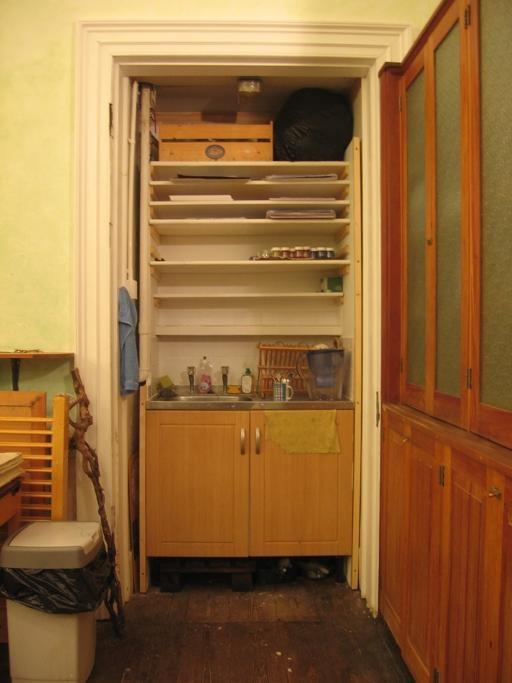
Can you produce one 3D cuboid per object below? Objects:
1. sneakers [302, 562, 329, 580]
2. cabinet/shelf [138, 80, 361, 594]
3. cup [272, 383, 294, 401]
[{"bbox_3d":[0.300,1.137,2.961,0.135,0.062,0.082,-2,6,-18],"label":"sneakers"},{"bbox_3d":[-0.045,-0.085,3.109,1.080,2.457,0.820,0,5,-1],"label":"cabinet/shelf"},{"bbox_3d":[0.129,0.253,2.946,0.089,0.105,0.063,0,-2,7],"label":"cup"}]
